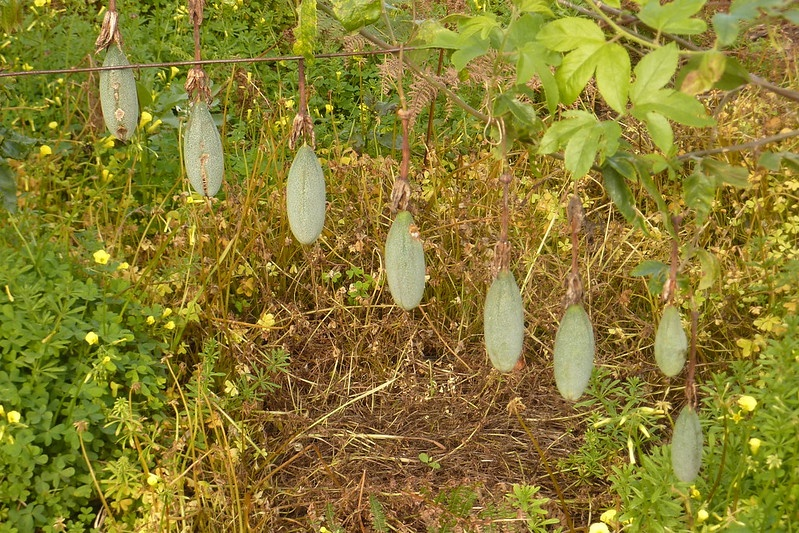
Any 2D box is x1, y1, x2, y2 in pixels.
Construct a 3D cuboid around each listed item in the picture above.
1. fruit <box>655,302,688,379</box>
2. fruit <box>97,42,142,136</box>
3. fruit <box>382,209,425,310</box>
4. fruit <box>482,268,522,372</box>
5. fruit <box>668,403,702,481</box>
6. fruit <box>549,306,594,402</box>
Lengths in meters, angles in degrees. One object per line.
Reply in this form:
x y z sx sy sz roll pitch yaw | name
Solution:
0.890 0.250 2.250 0.088 0.271 0.155 -2 9 22 | fruit
-0.892 -0.496 2.164 0.097 0.270 0.087 -13 -25 -28 | fruit
0.015 -0.007 2.105 0.116 0.323 0.138 -5 8 5 | fruit
0.325 0.184 2.148 0.119 0.356 0.158 -4 8 7 | fruit
0.994 0.633 2.403 0.092 0.330 0.107 -9 9 -27 | fruit
0.543 0.281 2.139 0.121 0.333 0.137 -2 9 21 | fruit
